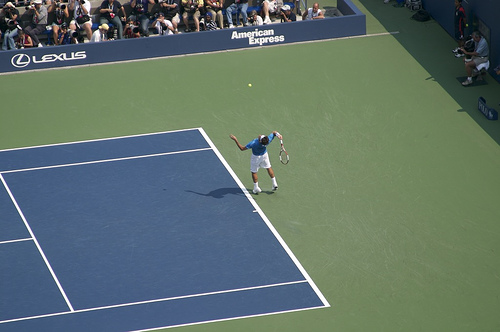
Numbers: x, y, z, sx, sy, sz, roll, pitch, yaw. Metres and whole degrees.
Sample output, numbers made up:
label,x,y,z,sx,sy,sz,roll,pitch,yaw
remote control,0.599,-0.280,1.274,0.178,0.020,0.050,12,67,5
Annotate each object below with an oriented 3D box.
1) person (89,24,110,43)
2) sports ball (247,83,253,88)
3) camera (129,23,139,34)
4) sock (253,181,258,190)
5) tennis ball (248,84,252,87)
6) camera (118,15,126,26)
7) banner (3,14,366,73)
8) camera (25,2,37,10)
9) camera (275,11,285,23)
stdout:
label,x,y,z,sx,sy,sz,roll,pitch,yaw
person,-6.981,-6.193,33.908,0.969,0.740,0.771,-14,24,-14
sports ball,-0.036,-3.586,32.083,0.214,0.114,0.303,-6,24,5
camera,-5.487,-6.556,34.344,0.458,0.142,0.331,39,50,23
sock,0.201,0.702,27.109,0.151,0.261,0.345,-7,23,2
tennis ball,-0.006,-3.596,32.093,0.141,0.072,0.213,-17,25,-19
camera,-6.115,-7.023,34.878,0.150,0.462,0.323,-16,28,-3
banner,-3.366,-5.731,33.792,15.905,1.928,0.219,-10,22,-4
camera,-10.330,-7.614,34.419,0.678,0.336,0.221,10,28,36
camera,1.451,-7.444,35.981,0.111,0.524,0.377,-13,-1,-7
